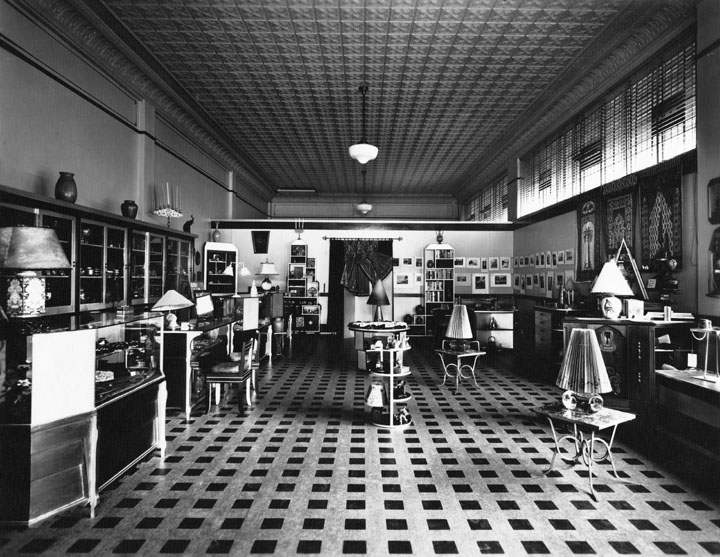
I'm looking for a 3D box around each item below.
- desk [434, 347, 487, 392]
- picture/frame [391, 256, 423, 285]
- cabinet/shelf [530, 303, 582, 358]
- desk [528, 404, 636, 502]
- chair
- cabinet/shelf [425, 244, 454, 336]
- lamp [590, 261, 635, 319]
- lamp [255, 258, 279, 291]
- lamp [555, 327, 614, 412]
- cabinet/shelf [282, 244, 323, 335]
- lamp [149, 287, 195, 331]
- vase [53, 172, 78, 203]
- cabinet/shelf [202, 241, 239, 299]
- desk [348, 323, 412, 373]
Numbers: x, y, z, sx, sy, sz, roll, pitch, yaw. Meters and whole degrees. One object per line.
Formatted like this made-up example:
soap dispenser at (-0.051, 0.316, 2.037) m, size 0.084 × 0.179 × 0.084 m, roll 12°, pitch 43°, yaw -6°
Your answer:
desk at (1.794, 1.654, 9.712) m, size 0.722 × 0.764 × 0.722 m, roll 6°, pitch -9°, yaw -36°
picture/frame at (1.269, -0.260, 14.639) m, size 0.695 × 0.737 × 0.082 m, roll 0°, pitch -3°, yaw -2°
cabinet/shelf at (3.606, 0.967, 9.777) m, size 0.512 × 0.867 × 0.896 m, roll -1°, pitch 4°, yaw -7°
desk at (2.510, 1.879, 5.930) m, size 0.820 × 0.787 × 0.899 m, roll -3°, pitch 3°, yaw -38°
chair at (-1.941, 1.483, 7.957) m, size 0.673 × 0.918 × 1.210 m, roll -2°, pitch 12°, yaw -6°
cabinet/shelf at (2.159, 0.228, 14.457) m, size 0.867 × 2.449 × 0.750 m, roll 1°, pitch 11°, yaw 6°
lamp at (3.456, 0.122, 7.257) m, size 0.483 × 0.803 × 0.890 m, roll 6°, pitch 13°, yaw 26°
lamp at (-2.346, -0.064, 13.546) m, size 0.530 × 0.863 × 2.146 m, roll -3°, pitch 13°, yaw -11°
lamp at (2.465, 1.008, 5.787) m, size 0.511 × 0.888 × 0.349 m, roll 2°, pitch 12°, yaw 13°
cabinet/shelf at (-1.585, 0.103, 14.535) m, size 1.084 × 2.704 × 0.391 m, roll 7°, pitch 16°, yaw 23°
lamp at (-2.721, 0.422, 7.625) m, size 0.646 × 0.684 × 0.664 m, roll -6°, pitch -11°, yaw 38°
vase at (-4.013, -1.234, 7.173) m, size 0.253 × 0.412 × 0.417 m, roll -8°, pitch 14°, yaw -32°
cabinet/shelf at (-3.160, -0.149, 11.873) m, size 0.683 × 1.314 × 0.401 m, roll 1°, pitch -2°, yaw -22°
desk at (0.297, 1.183, 9.055) m, size 0.976 × 0.883 × 1.104 m, roll -2°, pitch -11°, yaw 25°
